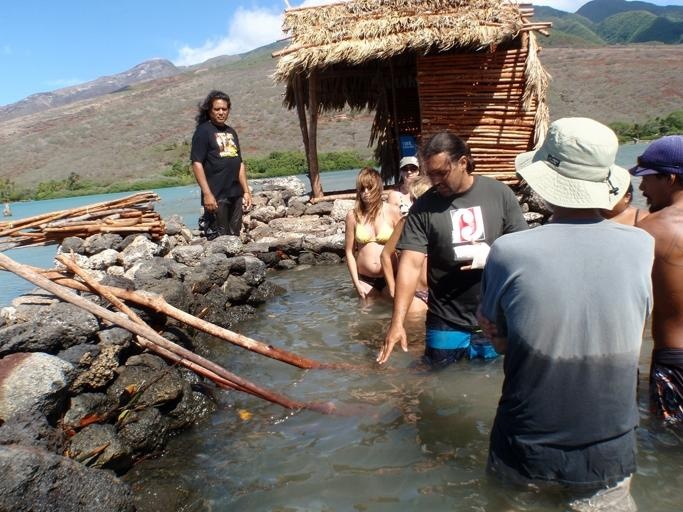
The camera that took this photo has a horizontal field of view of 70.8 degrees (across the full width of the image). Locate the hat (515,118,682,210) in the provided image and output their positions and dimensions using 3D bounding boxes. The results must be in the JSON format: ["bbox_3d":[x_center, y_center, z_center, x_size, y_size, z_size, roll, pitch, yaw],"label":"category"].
[{"bbox_3d":[1.268,-0.508,2.505,0.612,0.288,0.580,-7,28,-12],"label":"hat"}]
